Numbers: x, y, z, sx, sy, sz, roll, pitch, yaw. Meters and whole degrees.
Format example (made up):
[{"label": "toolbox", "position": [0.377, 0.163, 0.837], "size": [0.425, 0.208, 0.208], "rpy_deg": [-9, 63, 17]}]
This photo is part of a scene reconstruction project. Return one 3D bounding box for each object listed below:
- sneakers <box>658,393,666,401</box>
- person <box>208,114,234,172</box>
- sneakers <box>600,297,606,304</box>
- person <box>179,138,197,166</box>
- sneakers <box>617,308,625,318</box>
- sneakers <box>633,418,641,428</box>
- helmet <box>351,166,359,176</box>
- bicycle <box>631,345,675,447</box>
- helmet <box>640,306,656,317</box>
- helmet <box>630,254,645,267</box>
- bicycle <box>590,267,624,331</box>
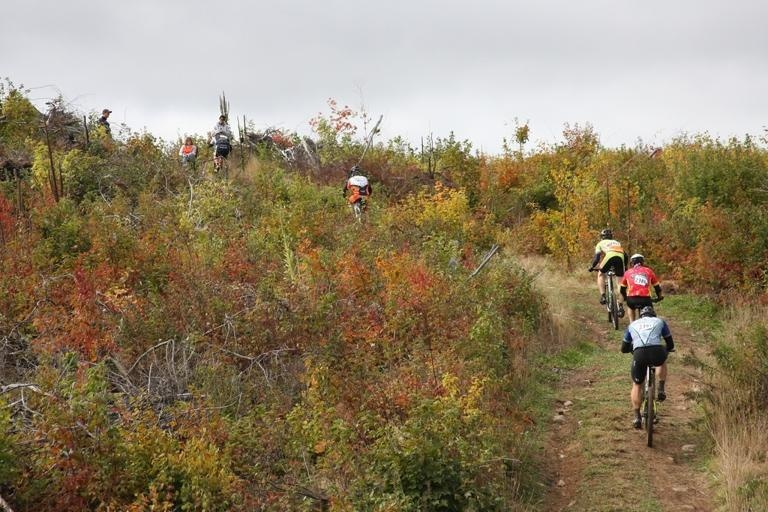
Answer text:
[{"label": "sneakers", "position": [6.275, 3.187, 20.653], "size": [0.108, 0.212, 0.174], "rpy_deg": [8, 19, 23]}, {"label": "person", "position": [-5.499, -3.785, 30.633], "size": [0.630, 1.970, 0.850], "rpy_deg": [0, -2, -7]}, {"label": "sneakers", "position": [6.020, 1.245, 25.195], "size": [0.105, 0.193, 0.179], "rpy_deg": [1, -21, 7]}, {"label": "person", "position": [-6.770, -3.577, 31.551], "size": [0.598, 1.157, 1.683], "rpy_deg": [0, -3, -13]}, {"label": "sneakers", "position": [6.493, 1.571, 25.157], "size": [0.144, 0.259, 0.237], "rpy_deg": [-4, -11, 3]}, {"label": "sneakers", "position": [5.638, 3.716, 20.367], "size": [0.161, 0.192, 0.171], "rpy_deg": [-5, -3, 37]}, {"label": "helmet", "position": [-0.962, -2.735, 30.331], "size": [0.286, 0.425, 0.384], "rpy_deg": [-2, 17, -10]}, {"label": "bicycle", "position": [5.983, 3.272, 20.533], "size": [0.432, 1.808, 1.404], "rpy_deg": [-2, -2, 20]}, {"label": "helmet", "position": [6.048, 1.278, 20.957], "size": [0.219, 0.330, 0.294], "rpy_deg": [15, -11, 11]}, {"label": "helmet", "position": [6.416, 0.092, 23.221], "size": [0.259, 0.369, 0.368], "rpy_deg": [3, -18, 2]}, {"label": "bicycle", "position": [6.349, 1.111, 25.663], "size": [0.968, 1.510, 2.361], "rpy_deg": [-4, 10, 8]}]
